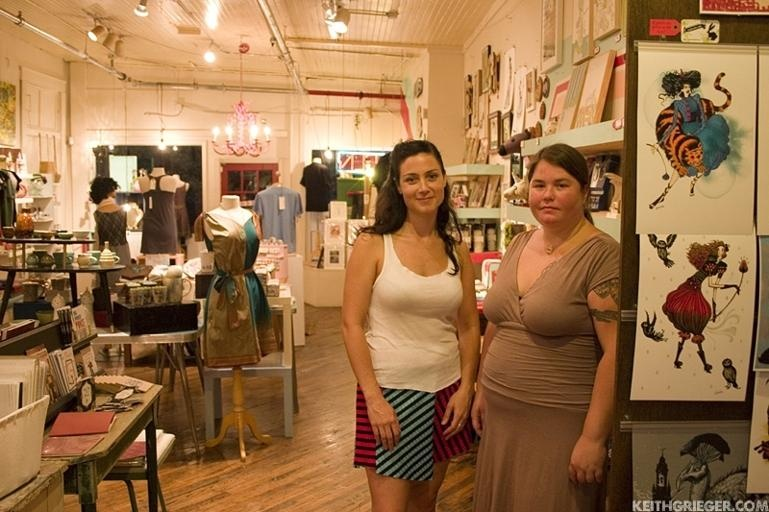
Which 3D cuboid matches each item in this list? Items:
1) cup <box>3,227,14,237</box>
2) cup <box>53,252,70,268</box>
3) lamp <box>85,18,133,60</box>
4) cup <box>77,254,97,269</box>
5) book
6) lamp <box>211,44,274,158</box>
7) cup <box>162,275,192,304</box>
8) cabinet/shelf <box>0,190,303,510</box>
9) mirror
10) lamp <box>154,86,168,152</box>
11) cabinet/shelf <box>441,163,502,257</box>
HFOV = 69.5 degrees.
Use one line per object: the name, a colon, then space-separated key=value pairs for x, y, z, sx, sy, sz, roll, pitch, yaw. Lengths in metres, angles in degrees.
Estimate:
cup: x=-3.836 y=-0.258 z=5.707 sx=0.133 sy=0.096 sz=0.133 roll=2 pitch=5 yaw=0
cup: x=-2.866 y=0.025 z=4.992 sx=0.135 sy=0.102 sz=0.129 roll=1 pitch=-2 yaw=0
lamp: x=-4.336 y=-3.466 z=8.785 sx=0.710 sy=0.406 sz=0.293 roll=31 pitch=11 yaw=17
cup: x=-2.640 y=0.046 z=4.984 sx=0.114 sy=0.105 sz=0.162 roll=-1 pitch=-5 yaw=5
book: x=-1.562 y=0.621 z=3.074 sx=0.713 sy=1.005 sz=1.042 roll=-2 pitch=1 yaw=-13
lamp: x=-2.644 y=-2.859 z=10.321 sx=0.951 sy=1.974 sz=0.967 roll=-1 pitch=2 yaw=-12
cup: x=-1.707 y=0.276 z=4.652 sx=0.229 sy=0.205 sz=0.143 roll=-6 pitch=-1 yaw=-40
cabinet/shelf: x=-1.821 y=0.599 z=5.057 sx=1.938 sy=1.955 sz=1.978 roll=1 pitch=-2 yaw=-8
mirror: x=-4.358 y=-1.292 z=10.112 sx=2.070 sy=2.127 sz=0.143 roll=0 pitch=-2 yaw=-10
lamp: x=-4.460 y=-2.788 z=11.172 sx=0.159 sy=1.215 sz=0.120 roll=-3 pitch=8 yaw=-21
cabinet/shelf: x=0.930 y=-0.463 z=5.600 sx=0.389 sy=1.011 sz=1.206 roll=0 pitch=1 yaw=-3
